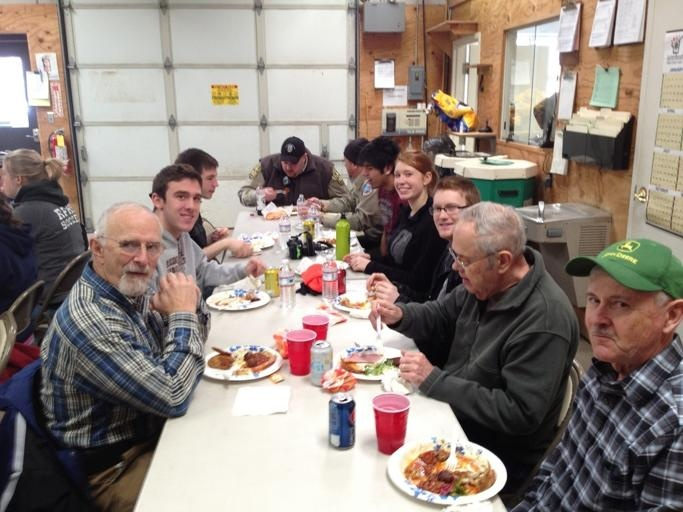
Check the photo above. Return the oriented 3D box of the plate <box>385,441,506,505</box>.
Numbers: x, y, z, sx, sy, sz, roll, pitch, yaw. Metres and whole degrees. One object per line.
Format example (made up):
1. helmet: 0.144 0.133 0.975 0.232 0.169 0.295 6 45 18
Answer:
1. plate: 0.307 0.611 1.393 0.335 0.090 0.234 -7 18 -8

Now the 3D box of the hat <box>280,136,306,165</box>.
1. hat: -0.504 -1.090 4.886 0.186 0.167 0.292 7 36 1

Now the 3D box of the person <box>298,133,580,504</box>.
1. person: 0.357 0.126 2.525 0.982 1.930 1.121 3 10 0

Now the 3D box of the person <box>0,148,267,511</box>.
1. person: -0.872 0.071 2.291 0.926 1.851 0.815 -6 30 -10

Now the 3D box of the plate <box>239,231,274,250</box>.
1. plate: -0.663 -0.120 3.732 0.221 0.036 0.174 8 22 12

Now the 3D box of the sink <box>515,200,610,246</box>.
1. sink: 1.796 -0.279 3.802 0.481 0.143 0.506 -3 15 -5

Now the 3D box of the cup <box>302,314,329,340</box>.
1. cup: -0.114 0.308 2.075 0.088 0.082 0.104 0 3 1

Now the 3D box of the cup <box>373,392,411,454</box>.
1. cup: 0.146 0.507 1.493 0.142 0.173 0.150 0 2 0

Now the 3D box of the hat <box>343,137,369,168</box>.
1. hat: 0.163 -1.067 4.824 0.337 0.311 0.357 -8 20 -17

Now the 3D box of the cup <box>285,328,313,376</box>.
1. cup: -0.159 0.374 1.893 0.142 0.170 0.149 1 6 0

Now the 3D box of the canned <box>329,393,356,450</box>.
1. canned: -0.004 0.518 1.514 0.095 0.168 0.079 -2 17 6
